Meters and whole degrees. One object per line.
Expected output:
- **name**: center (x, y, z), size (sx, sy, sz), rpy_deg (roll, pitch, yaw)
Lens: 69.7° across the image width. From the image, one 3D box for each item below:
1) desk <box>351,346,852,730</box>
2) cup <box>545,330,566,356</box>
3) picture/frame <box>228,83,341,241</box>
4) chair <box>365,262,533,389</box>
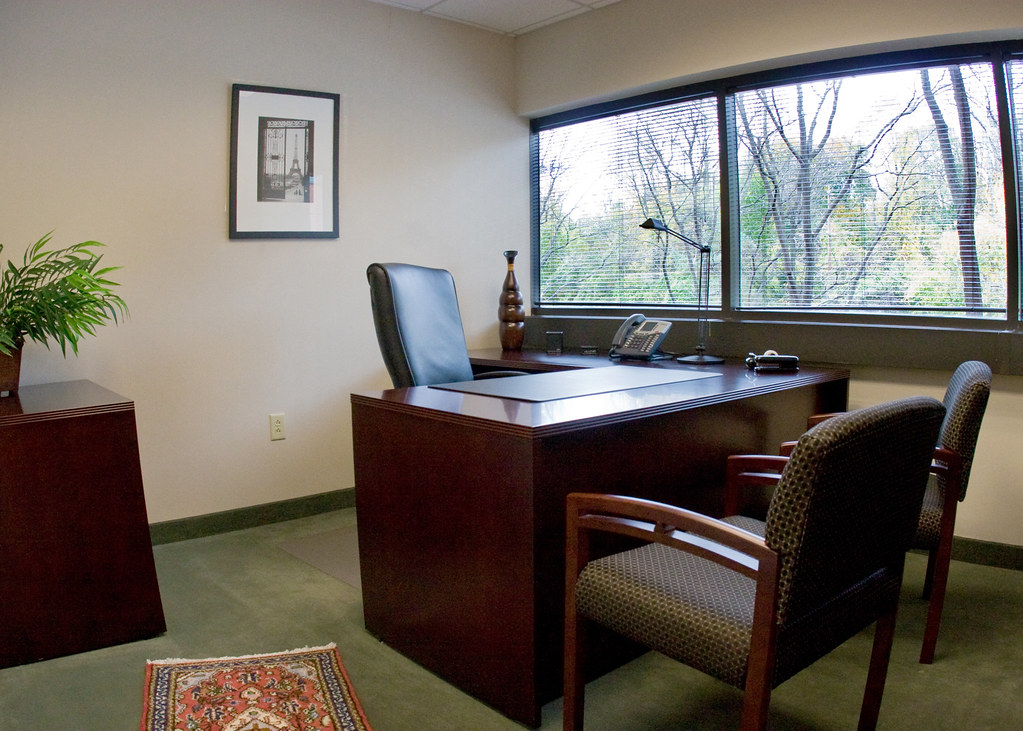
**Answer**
- **desk**: center (0.049, 0.351, 2.837), size (1.721, 0.921, 0.977), rpy_deg (-8, 14, -39)
- **cup**: center (0.257, -0.135, 4.487), size (0.139, 0.166, 0.108), rpy_deg (-1, 8, 2)
- **picture/frame**: center (-1.215, -1.076, 3.939), size (0.634, 0.781, 0.065), rpy_deg (-7, 12, -32)
- **chair**: center (-0.190, -0.182, 3.123), size (0.536, 0.656, 0.453), rpy_deg (2, 7, 41)
